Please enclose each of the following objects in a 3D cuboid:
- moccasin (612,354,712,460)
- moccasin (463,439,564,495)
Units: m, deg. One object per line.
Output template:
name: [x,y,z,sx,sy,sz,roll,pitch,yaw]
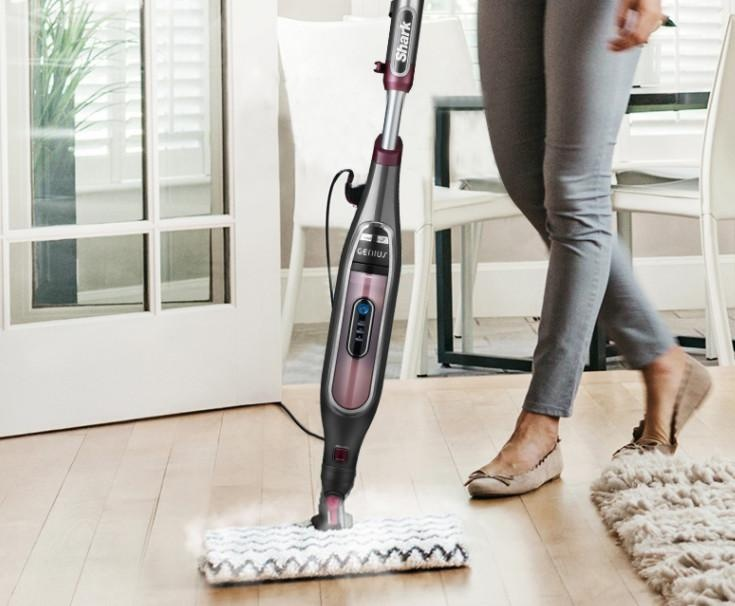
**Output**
moccasin: [0.561,0.184,1.339,0.112,0.300,0.101,3,19,-34]
moccasin: [0.259,0.293,1.217,0.184,0.077,0.068,-7,2,-33]
